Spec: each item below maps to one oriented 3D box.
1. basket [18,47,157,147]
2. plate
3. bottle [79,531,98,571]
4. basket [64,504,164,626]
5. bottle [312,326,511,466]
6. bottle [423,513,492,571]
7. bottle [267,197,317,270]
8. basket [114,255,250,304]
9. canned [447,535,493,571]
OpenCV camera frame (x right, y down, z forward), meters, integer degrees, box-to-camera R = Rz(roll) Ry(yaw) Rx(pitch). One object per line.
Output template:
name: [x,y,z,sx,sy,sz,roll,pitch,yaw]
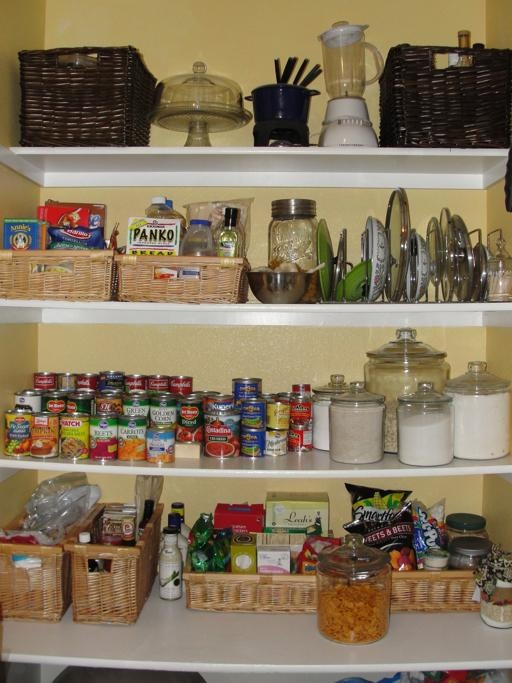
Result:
basket: [-0.399,-0.544,1.551,0.294,0.188,0.278,0,5,-6]
plate: [0.311,-0.220,1.461,0.408,0.196,0.227,0,1,0]
bottle: [-0.352,0.443,1.330,0.052,0.065,0.075,0,-5,-6]
basket: [-0.312,0.506,1.382,0.126,0.116,0.232,0,-2,-2]
bottle: [0.356,0.125,1.465,0.407,0.323,0.218,-1,4,4]
bottle: [0.470,0.471,1.495,0.100,0.136,0.147,1,-3,2]
bottle: [0.091,-0.264,1.500,0.119,0.193,0.198,0,1,1]
basket: [-0.161,-0.136,1.357,0.194,0.074,0.135,0,4,1]
canned: [0.487,0.472,1.421,0.077,0.065,0.074,0,-1,0]
